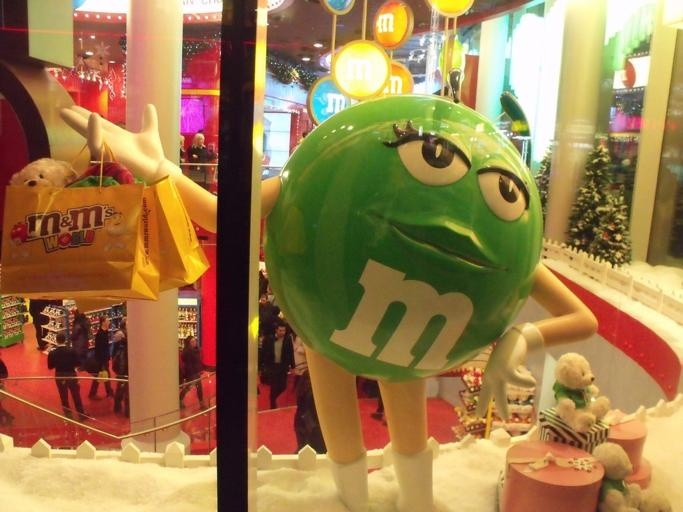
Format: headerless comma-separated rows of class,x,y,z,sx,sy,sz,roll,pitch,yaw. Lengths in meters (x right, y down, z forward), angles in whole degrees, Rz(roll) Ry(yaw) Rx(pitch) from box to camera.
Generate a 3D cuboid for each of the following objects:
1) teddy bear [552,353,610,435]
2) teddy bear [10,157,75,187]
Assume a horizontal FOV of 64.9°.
teddy bear,1.225,0.649,2.774,0.360,0.427,0.301,0,1,-40
teddy bear,-1.080,-0.301,1.948,0.173,0.061,0.140,-9,23,-29
